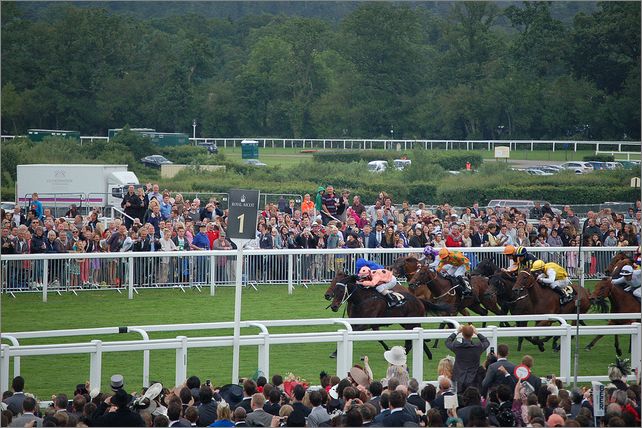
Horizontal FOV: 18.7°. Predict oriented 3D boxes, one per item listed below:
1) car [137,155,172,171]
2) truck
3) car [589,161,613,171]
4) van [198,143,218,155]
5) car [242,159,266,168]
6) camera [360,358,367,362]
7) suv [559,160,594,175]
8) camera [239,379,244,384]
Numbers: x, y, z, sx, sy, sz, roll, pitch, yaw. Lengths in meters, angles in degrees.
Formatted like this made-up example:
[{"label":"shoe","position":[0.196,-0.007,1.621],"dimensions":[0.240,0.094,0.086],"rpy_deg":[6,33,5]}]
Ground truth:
[{"label":"car","position":[-17.160,-4.971,196.862],"dimensions":[2.769,0.932,1.249],"rpy_deg":[0,8,21]},{"label":"truck","position":[-22.678,-2.001,178.393],"dimensions":[9.853,4.315,4.967],"rpy_deg":[-1,4,0]},{"label":"car","position":[28.221,-4.610,195.003],"dimensions":[1.932,0.590,0.903],"rpy_deg":[-3,12,-6]},{"label":"van","position":[-12.207,-6.608,206.686],"dimensions":[2.167,1.015,1.247],"rpy_deg":[-1,5,6]},{"label":"car","position":[-6.959,-4.942,198.790],"dimensions":[1.939,0.612,1.044],"rpy_deg":[1,8,34]},{"label":"camera","position":[3.424,11.909,161.364],"dimensions":[0.558,0.268,0.345],"rpy_deg":[-2,-1,38]},{"label":"suv","position":[25.541,-4.274,195.218],"dimensions":[2.749,0.943,1.389],"rpy_deg":[8,11,30]},{"label":"camera","position":[-6.649,13.574,159.558],"dimensions":[0.634,0.387,0.327],"rpy_deg":[0,-1,-4]}]
